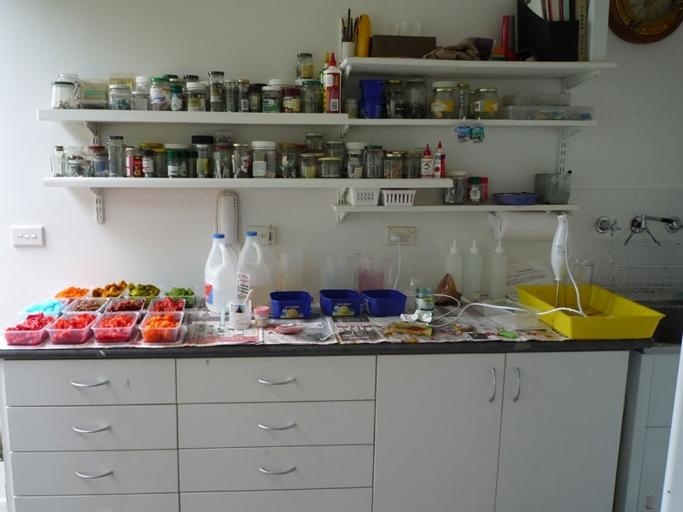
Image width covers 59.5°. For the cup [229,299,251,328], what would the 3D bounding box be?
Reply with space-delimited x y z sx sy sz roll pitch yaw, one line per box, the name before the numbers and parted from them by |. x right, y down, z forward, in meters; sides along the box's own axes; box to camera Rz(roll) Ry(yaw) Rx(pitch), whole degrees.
cup | -0.481 0.275 2.870 0.115 0.121 0.114 2 1 0

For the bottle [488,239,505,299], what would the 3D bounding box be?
bottle | 0.847 0.089 3.241 0.085 0.282 0.058 1 8 12

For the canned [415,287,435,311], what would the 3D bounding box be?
canned | 0.408 0.211 2.948 0.118 0.127 0.118 1 2 -1

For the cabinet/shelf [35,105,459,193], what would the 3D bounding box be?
cabinet/shelf | -0.575 -0.530 3.008 1.936 0.394 0.299 -1 8 -3

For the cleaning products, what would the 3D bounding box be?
cleaning products | 0.738 0.083 3.255 0.328 0.477 0.138 1 9 4

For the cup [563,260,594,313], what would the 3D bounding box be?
cup | 1.254 0.146 3.170 0.141 0.229 0.441 3 8 23

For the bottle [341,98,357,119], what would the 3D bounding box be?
bottle | 0.045 -0.755 3.057 0.094 0.102 0.094 -2 9 -14

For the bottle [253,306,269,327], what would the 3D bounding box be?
bottle | -0.379 0.291 2.884 0.083 0.088 0.083 2 7 6

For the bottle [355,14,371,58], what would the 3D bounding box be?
bottle | 0.109 -1.090 2.950 0.078 0.214 0.088 -2 8 -8

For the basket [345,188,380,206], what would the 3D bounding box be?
basket | 0.108 -0.300 3.047 0.132 0.063 0.093 -1 4 -20

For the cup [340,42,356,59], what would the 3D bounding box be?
cup | 0.029 -1.023 2.997 0.079 0.089 0.091 0 -4 1

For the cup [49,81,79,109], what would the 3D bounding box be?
cup | -1.323 -0.767 2.888 0.128 0.140 0.129 1 6 0

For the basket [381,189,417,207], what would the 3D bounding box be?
basket | 0.284 -0.295 3.037 0.130 0.055 0.091 0 3 -4

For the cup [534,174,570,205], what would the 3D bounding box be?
cup | 1.117 -0.370 3.197 0.181 0.181 0.184 0 13 0

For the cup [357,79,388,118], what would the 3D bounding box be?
cup | 0.152 -0.790 3.100 0.173 0.224 0.206 -1 6 -13

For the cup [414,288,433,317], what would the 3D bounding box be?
cup | 0.401 0.225 2.923 0.111 0.160 0.112 -1 5 0
